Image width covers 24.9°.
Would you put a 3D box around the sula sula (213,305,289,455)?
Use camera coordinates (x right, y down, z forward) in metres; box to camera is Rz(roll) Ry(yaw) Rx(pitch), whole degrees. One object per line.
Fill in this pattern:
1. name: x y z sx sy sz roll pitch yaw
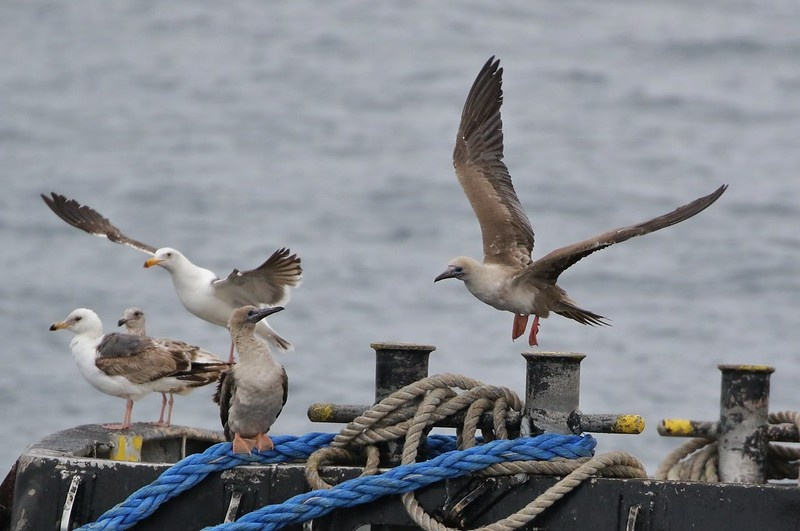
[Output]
1. sula sula: -1.725 1.290 20.622 0.757 1.737 0.532 4 -9 14
